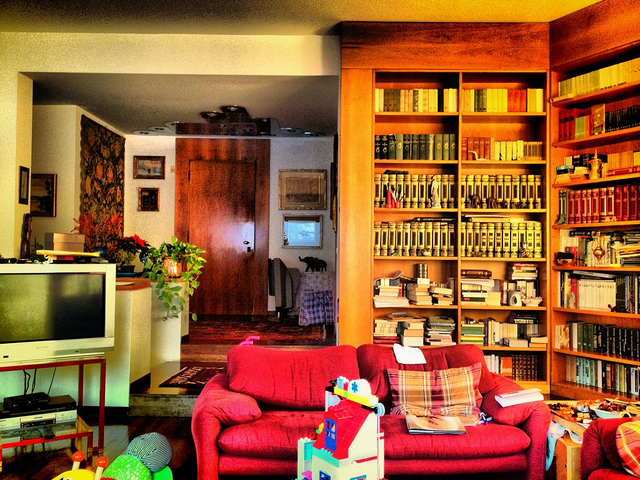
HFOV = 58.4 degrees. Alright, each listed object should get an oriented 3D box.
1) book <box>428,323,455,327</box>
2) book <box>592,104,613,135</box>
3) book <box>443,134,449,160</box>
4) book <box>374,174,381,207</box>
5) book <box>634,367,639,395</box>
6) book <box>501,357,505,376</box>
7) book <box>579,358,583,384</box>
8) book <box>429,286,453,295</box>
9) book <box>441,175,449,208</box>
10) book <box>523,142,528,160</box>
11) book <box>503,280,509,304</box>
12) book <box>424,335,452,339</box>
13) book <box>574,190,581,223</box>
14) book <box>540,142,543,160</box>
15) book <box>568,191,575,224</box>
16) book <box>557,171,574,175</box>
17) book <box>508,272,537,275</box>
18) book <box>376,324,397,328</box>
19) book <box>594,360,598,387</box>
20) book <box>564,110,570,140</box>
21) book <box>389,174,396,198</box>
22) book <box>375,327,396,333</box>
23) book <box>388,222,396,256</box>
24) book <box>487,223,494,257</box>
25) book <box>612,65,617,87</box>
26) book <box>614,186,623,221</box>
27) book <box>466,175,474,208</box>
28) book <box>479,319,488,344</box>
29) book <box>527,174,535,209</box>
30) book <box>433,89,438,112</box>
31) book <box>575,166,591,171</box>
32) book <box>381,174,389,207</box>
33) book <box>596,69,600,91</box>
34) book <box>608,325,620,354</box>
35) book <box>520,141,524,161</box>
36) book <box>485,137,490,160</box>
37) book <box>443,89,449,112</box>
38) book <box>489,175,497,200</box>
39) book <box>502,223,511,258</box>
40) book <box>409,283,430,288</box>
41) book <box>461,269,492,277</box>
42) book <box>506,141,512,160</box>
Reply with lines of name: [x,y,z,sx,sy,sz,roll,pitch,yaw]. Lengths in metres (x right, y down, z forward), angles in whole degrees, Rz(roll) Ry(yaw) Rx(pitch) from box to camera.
book: [1.189,0.838,5.577,0.219,0.021,0.044,0,-3,-12]
book: [2.617,-1.141,5.373,0.060,0.254,0.259,7,-1,1]
book: [1.247,-0.926,5.660,0.058,0.245,0.016,0,-3,-2]
book: [0.569,-0.494,5.677,0.068,0.325,0.038,0,-3,-5]
book: [2.841,1.267,5.132,0.041,0.239,0.013,-2,-4,29]
book: [1.793,1.231,5.582,0.029,0.120,0.121,6,-3,5]
book: [2.495,1.247,5.467,0.033,0.234,0.019,-2,-4,21]
book: [1.194,0.495,5.650,0.217,0.080,0.064,0,-3,-2]
book: [1.242,-0.490,5.681,0.076,0.313,0.022,0,-3,-6]
book: [2.048,-0.913,5.689,0.028,0.109,0.119,2,1,13]
book: [1.860,0.521,5.729,0.057,0.232,0.013,0,-3,3]
book: [1.167,0.950,5.572,0.238,0.027,0.035,0,-3,-8]
book: [2.460,-0.321,5.465,0.056,0.230,0.231,0,0,16]
book: [2.197,-0.896,5.676,0.027,0.166,0.013,-2,-4,22]
book: [2.417,-0.315,5.505,0.056,0.232,0.233,1,1,14]
book: [2.371,-0.656,5.524,0.150,0.032,0.025,-3,-4,40]
book: [2.028,0.331,5.711,0.254,0.020,0.060,0,-3,3]
book: [0.647,0.843,5.613,0.190,0.033,0.034,-1,-3,4]
book: [2.597,1.251,5.375,0.028,0.240,0.008,-2,-4,29]
book: [2.395,-1.124,5.545,0.052,0.286,0.036,-2,-4,33]
book: [0.720,-0.552,5.670,0.063,0.216,0.022,0,-3,-6]
book: [0.634,0.883,5.610,0.190,0.051,0.023,0,-3,-4]
book: [0.710,-0.014,5.657,0.077,0.318,0.024,-1,-3,5]
book: [1.682,-0.010,5.640,0.069,0.323,0.017,0,-3,-8]
book: [2.700,-1.518,5.240,0.034,0.199,0.020,-3,-4,39]
book: [2.749,-0.343,5.268,0.016,0.309,0.080,2,-4,-36]
book: [1.484,-0.485,5.654,0.076,0.316,0.041,-1,-3,8]
book: [1.638,0.903,5.658,0.038,0.163,0.163,2,4,11]
book: [2.088,-0.478,5.639,0.073,0.336,0.049,0,-3,-1]
book: [1.138,-1.379,5.629,0.057,0.227,0.030,1,-4,-21]
book: [2.503,-0.687,5.445,0.133,0.046,0.032,-1,-3,5]
book: [0.645,-0.500,5.679,0.078,0.319,0.030,-1,-3,12]
book: [2.590,-1.496,5.326,0.026,0.196,0.015,-3,-4,35]
book: [2.724,0.934,5.319,0.073,0.248,0.030,-1,-3,14]
book: [2.004,-0.890,5.668,0.050,0.198,0.029,0,-3,-7]
book: [1.655,-0.908,5.660,0.048,0.208,0.013,0,-3,-8]
book: [1.240,-1.388,5.629,0.065,0.186,0.199,0,6,4]
book: [1.713,-0.529,5.656,0.075,0.233,0.024,1,-3,-12]
book: [1.837,-0.007,5.631,0.086,0.328,0.024,1,-3,-15]
book: [0.985,0.448,5.677,0.198,0.043,0.093,-1,-3,11]
book: [1.575,0.330,5.742,0.345,0.076,0.233,-1,-3,4]
book: [1.879,-0.897,5.683,0.055,0.180,0.023,1,-4,-16]
